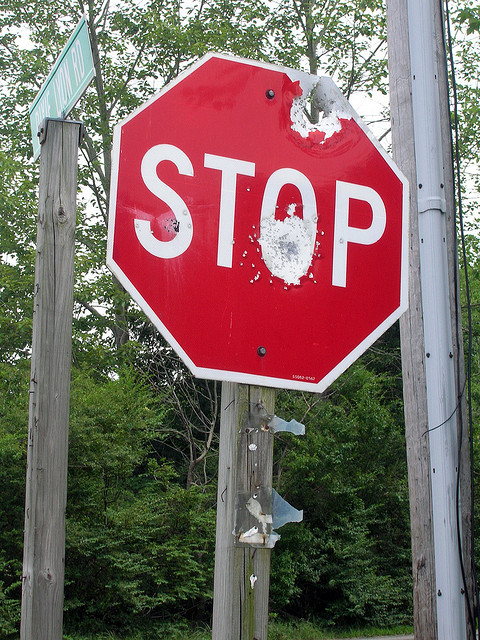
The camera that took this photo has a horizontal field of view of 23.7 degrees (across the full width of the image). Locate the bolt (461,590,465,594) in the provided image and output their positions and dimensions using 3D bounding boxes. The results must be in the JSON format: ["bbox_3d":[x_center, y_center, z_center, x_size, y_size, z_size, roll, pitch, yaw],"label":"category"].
[{"bbox_3d":[0.825,1.004,4.199,0.007,0.013,0.034,-4,-14,17],"label":"bolt"}]

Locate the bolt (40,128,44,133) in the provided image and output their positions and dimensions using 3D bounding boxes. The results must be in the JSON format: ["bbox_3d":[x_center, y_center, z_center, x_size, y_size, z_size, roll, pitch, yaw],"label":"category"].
[{"bbox_3d":[-0.827,-0.792,4.782,0.012,0.027,0.014,0,25,-9],"label":"bolt"}]

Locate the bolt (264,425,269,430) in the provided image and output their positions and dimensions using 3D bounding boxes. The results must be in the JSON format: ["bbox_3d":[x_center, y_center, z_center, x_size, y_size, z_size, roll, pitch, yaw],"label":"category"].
[{"bbox_3d":[0.092,0.362,3.805,0.012,0.014,0.003,-2,-7,-11],"label":"bolt"}]

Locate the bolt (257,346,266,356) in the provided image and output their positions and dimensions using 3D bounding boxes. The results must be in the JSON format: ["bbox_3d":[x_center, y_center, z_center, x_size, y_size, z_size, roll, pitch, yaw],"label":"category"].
[{"bbox_3d":[0.073,0.105,3.727,0.024,0.028,0.006,6,1,-27],"label":"bolt"}]

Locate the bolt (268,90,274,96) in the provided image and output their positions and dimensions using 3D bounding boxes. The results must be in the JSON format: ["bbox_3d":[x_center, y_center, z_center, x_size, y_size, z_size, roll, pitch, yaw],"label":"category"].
[{"bbox_3d":[0.107,-0.760,3.840,0.018,0.021,0.005,0,4,-18],"label":"bolt"}]

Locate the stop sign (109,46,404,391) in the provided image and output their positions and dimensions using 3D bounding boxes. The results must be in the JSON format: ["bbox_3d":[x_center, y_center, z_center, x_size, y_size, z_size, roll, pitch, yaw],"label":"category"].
[{"bbox_3d":[0.082,-0.327,3.802,1.043,1.099,0.193,6,-12,-26],"label":"stop sign"}]

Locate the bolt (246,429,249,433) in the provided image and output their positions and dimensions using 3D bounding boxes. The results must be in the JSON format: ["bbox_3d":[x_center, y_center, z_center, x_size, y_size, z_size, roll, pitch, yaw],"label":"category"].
[{"bbox_3d":[0.028,0.372,3.786,0.009,0.010,0.004,1,-11,-8],"label":"bolt"}]

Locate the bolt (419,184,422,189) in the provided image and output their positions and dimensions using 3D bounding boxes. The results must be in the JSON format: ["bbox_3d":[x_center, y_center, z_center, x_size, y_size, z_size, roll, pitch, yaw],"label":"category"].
[{"bbox_3d":[0.701,-0.512,4.392,0.010,0.013,0.003,-2,-11,8],"label":"bolt"}]

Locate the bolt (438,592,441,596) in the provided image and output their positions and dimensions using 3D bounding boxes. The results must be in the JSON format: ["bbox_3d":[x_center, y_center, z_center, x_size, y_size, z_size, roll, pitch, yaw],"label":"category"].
[{"bbox_3d":[0.738,1.010,4.194,0.005,0.009,0.014,8,-15,-34],"label":"bolt"}]

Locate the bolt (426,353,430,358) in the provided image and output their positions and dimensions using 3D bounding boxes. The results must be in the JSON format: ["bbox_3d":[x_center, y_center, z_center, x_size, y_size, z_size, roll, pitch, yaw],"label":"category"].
[{"bbox_3d":[0.721,0.138,4.346,0.006,0.014,0.018,6,-14,-29],"label":"bolt"}]

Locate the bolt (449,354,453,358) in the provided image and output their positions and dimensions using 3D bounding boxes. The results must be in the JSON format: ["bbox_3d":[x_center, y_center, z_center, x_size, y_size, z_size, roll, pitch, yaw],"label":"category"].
[{"bbox_3d":[0.805,0.140,4.330,0.009,0.021,0.010,4,22,-4],"label":"bolt"}]

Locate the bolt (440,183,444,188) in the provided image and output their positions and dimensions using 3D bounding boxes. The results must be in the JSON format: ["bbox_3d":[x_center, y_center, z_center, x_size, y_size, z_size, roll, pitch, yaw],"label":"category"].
[{"bbox_3d":[0.779,-0.513,4.380,0.006,0.020,0.015,-11,-16,42],"label":"bolt"}]
